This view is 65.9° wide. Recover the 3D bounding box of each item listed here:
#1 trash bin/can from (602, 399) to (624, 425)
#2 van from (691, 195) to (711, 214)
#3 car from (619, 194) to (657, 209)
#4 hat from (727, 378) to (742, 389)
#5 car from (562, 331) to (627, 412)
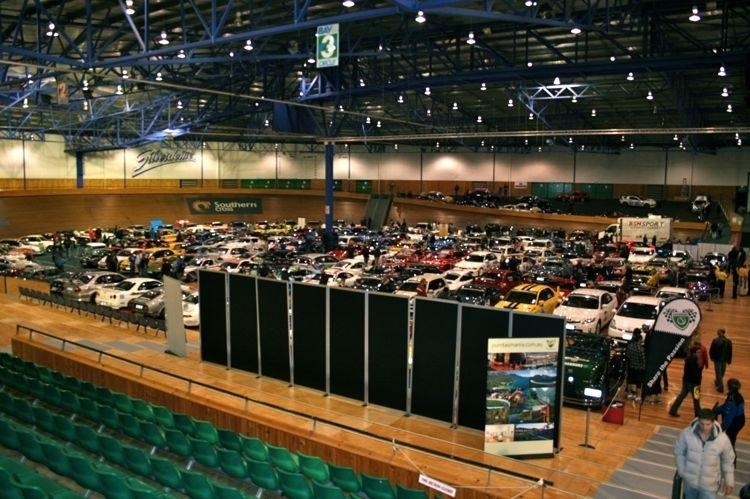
[{"bbox_3d":[6.601,4.546,16.492,0.834,0.608,0.416,0,6,10],"label":"trash bin/can"},{"bbox_3d":[28.807,-3.988,51.284,1.530,0.948,3.169,5,18,37],"label":"van"},{"bbox_3d":[25.524,-4.653,56.322,2.955,0.707,1.530,4,12,32],"label":"car"},{"bbox_3d":[8.443,3.137,13.605,0.203,0.256,0.327,5,4,42],"label":"hat"},{"bbox_3d":[6.588,3.455,18.378,2.369,1.404,3.712,9,17,27],"label":"car"}]
